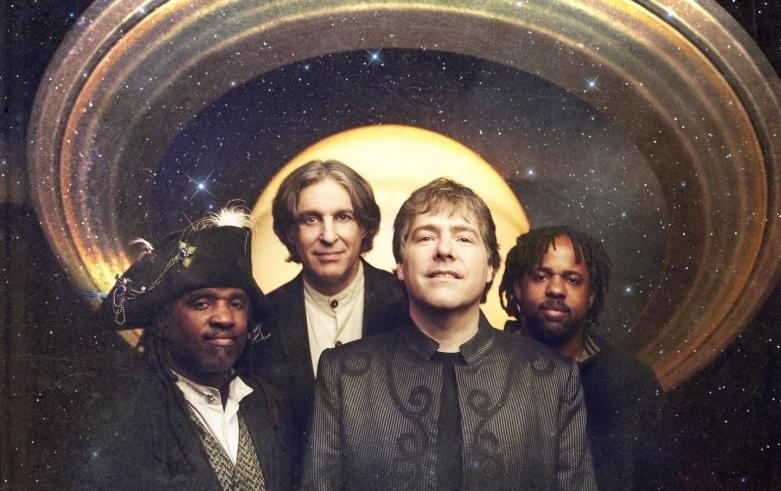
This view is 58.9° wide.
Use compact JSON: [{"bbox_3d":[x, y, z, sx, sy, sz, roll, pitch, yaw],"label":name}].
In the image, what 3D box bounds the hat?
[{"bbox_3d":[-1.186,0.156,3.811,0.690,0.540,0.283,-23,33,-5],"label":"hat"}]
